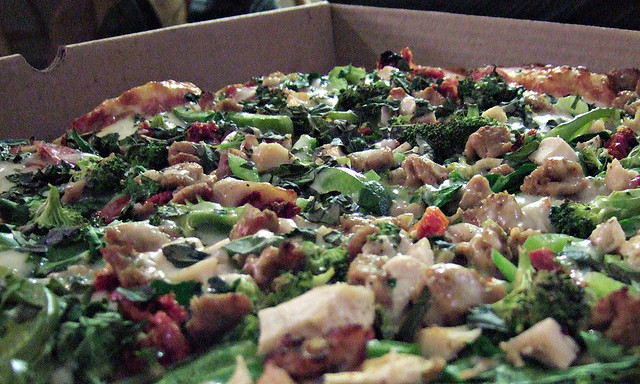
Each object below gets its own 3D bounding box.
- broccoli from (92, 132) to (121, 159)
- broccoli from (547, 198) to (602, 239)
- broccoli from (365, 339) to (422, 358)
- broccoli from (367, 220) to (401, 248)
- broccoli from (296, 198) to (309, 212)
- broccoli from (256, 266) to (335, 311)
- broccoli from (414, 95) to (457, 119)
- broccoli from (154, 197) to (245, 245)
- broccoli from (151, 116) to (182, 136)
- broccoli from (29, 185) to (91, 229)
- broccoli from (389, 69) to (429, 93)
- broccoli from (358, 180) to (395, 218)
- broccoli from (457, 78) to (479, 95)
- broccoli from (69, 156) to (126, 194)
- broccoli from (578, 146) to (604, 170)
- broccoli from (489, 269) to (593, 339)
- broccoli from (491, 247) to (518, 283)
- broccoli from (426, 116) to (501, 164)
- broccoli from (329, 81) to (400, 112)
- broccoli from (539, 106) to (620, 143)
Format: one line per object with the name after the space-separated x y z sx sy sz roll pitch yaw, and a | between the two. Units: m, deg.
-1.302 -0.291 3.249 0.173 0.059 0.162 0 53 -1 | broccoli
1.099 0.111 2.311 0.184 0.095 0.144 -2 18 -23 | broccoli
0.263 0.561 1.924 0.144 0.040 0.085 5 41 3 | broccoli
0.270 0.170 2.208 0.118 0.033 0.104 -19 45 -16 | broccoli
-0.086 0.060 2.578 0.057 0.030 0.056 -28 42 -32 | broccoli
-0.094 0.347 1.963 0.143 0.075 0.193 11 62 20 | broccoli
0.712 -0.519 3.335 0.191 0.069 0.183 -4 24 1 | broccoli
-0.555 0.120 2.432 0.266 0.083 0.260 4 24 20 | broccoli
-0.946 -0.393 3.235 0.140 0.041 0.138 32 56 16 | broccoli
-1.283 0.059 2.578 0.254 0.154 0.265 21 17 25 | broccoli
0.612 -0.761 3.656 0.212 0.062 0.212 7 19 -7 | broccoli
0.269 0.029 2.537 0.166 0.159 0.061 -51 13 -22 | broccoli
0.924 -0.666 3.320 0.098 0.041 0.096 -17 38 -32 | broccoli
-1.240 -0.105 2.895 0.342 0.163 0.322 7 1 31 | broccoli
1.374 -0.188 2.720 0.103 0.063 0.125 -17 28 -17 | broccoli
0.795 0.396 1.920 0.345 0.166 0.185 2 38 3 | broccoli
0.753 0.321 2.135 0.065 0.064 0.258 33 4 33 | broccoli
0.806 -0.313 2.950 0.360 0.131 0.237 -30 9 -29 | broccoli
0.288 -0.618 3.446 0.274 0.107 0.264 -9 19 -14 | broccoli
1.522 -0.445 3.140 0.133 0.110 0.430 12 25 -1 | broccoli
